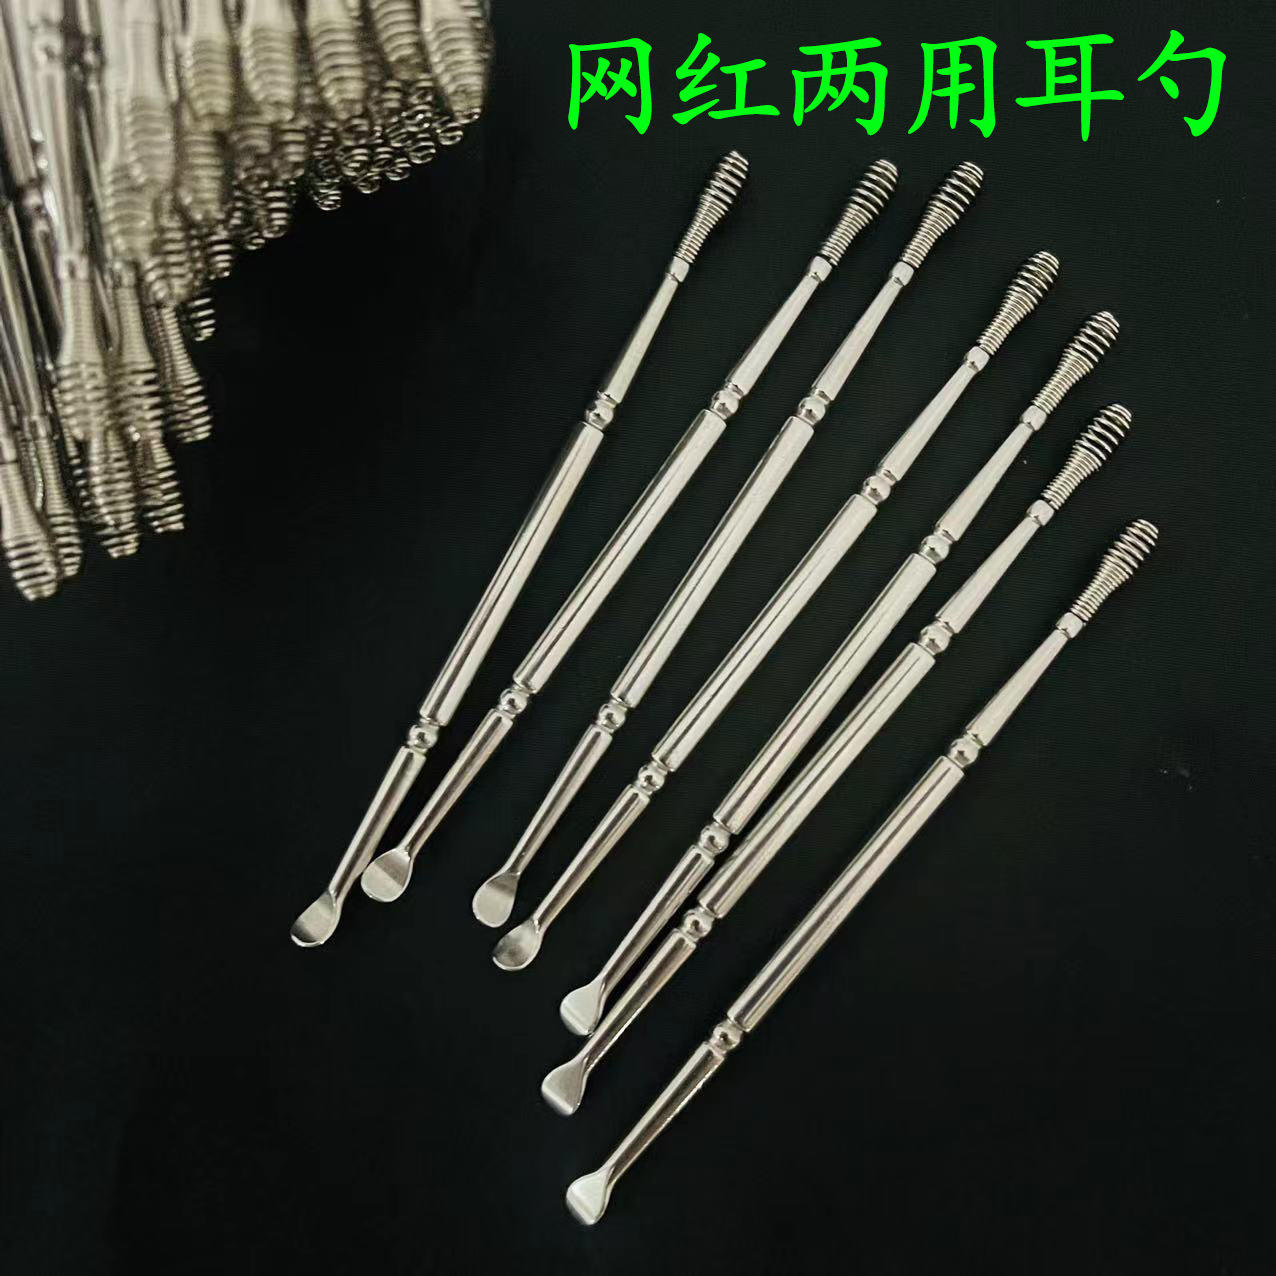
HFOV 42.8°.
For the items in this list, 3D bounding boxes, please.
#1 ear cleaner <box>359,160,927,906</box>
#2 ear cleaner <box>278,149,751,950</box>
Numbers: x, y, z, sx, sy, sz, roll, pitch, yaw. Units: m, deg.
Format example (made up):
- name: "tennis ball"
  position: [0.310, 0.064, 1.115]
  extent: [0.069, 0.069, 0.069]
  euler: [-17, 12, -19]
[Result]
- name: "ear cleaner"
  position: [0.003, -0.046, 0.984]
  extent: [0.603, 0.041, 0.041]
  euler: [-46, 11, -4]
- name: "ear cleaner"
  position: [-0.079, -0.034, 0.984]
  extent: [0.042, 0.031, 0.561]
  euler: [31, 80, 4]
